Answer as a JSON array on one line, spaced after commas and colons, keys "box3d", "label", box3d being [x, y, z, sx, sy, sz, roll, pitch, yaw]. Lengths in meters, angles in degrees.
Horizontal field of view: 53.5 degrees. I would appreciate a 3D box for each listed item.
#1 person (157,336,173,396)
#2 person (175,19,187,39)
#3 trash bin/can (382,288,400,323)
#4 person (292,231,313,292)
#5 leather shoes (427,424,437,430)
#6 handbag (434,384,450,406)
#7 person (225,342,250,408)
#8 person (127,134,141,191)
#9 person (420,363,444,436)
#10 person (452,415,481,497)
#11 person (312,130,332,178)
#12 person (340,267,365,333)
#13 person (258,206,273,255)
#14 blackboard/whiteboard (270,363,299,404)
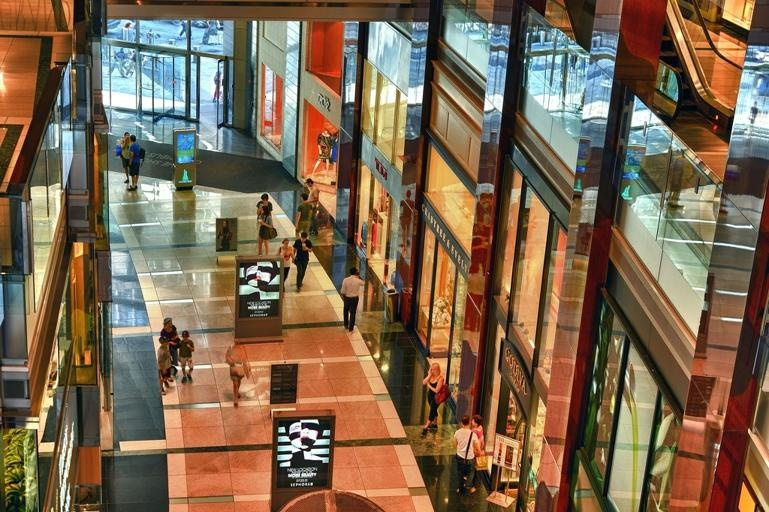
[{"box3d": [-5.010, 2.533, 17.430, 0.240, 0.492, 1.230, 8, -33, -6], "label": "person"}, {"box3d": [-8.921, -10.110, 33.678, 0.796, 0.893, 0.236, -8, -6, 45], "label": "person"}, {"box3d": [0.094, 1.361, 21.085, 0.341, 0.941, 0.709, -1, -5, -30], "label": "trash bin/can"}, {"box3d": [-2.385, 0.158, 21.844, 0.398, 1.668, 1.011, -2, -5, -19], "label": "person"}, {"box3d": [1.045, 3.828, 17.091, 0.247, 0.112, 0.093, 6, 21, 1], "label": "leather shoes"}, {"box3d": [1.282, 3.031, 16.846, 0.210, 0.418, 0.375, -7, -5, 35], "label": "handbag"}, {"box3d": [-3.337, 2.680, 17.425, 0.472, 1.461, 1.137, -2, -5, -12], "label": "person"}, {"box3d": [-8.770, -3.283, 26.909, 0.487, 1.868, 1.106, -2, -5, -19], "label": "person"}, {"box3d": [1.068, 3.172, 17.100, 0.527, 1.555, 1.007, -4, -4, 2], "label": "person"}, {"box3d": [1.653, 4.002, 15.344, 0.487, 1.576, 0.618, -3, -4, -2], "label": "person"}, {"box3d": [-2.276, -3.889, 28.354, 0.723, 1.568, 1.084, -2, -5, -18], "label": "person"}, {"box3d": [-0.869, 1.171, 20.082, 0.525, 1.611, 1.604, -3, -5, -6], "label": "person"}, {"box3d": [-3.648, -0.774, 23.209, 0.456, 1.512, 1.151, -3, -5, -10], "label": "person"}, {"box3d": [-2.232, 2.817, 16.781, 0.598, 0.935, 0.539, -3, -5, -11], "label": "blackboard/whiteboard"}]
